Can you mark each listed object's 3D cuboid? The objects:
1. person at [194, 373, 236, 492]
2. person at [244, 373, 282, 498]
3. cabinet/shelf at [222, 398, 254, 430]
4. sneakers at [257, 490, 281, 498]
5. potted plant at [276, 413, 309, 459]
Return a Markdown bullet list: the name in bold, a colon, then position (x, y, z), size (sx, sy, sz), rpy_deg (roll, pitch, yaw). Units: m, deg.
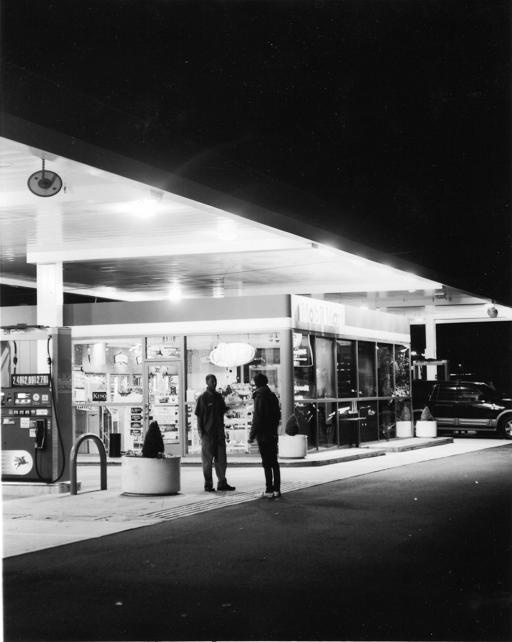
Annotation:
- **person**: position (-0.667, 1.805, 11.642), size (0.609, 1.849, 0.925), rpy_deg (1, -1, -2)
- **person**: position (0.142, 1.706, 10.886), size (0.462, 1.747, 0.749), rpy_deg (1, -1, 1)
- **cabinet/shelf**: position (-0.411, 2.270, 17.628), size (0.745, 0.779, 0.924), rpy_deg (0, -2, 4)
- **sneakers**: position (0.217, 2.529, 10.586), size (0.267, 0.162, 0.118), rpy_deg (3, -7, -10)
- **potted plant**: position (0.843, 2.696, 16.547), size (0.507, 1.069, 0.522), rpy_deg (4, -15, -26)
